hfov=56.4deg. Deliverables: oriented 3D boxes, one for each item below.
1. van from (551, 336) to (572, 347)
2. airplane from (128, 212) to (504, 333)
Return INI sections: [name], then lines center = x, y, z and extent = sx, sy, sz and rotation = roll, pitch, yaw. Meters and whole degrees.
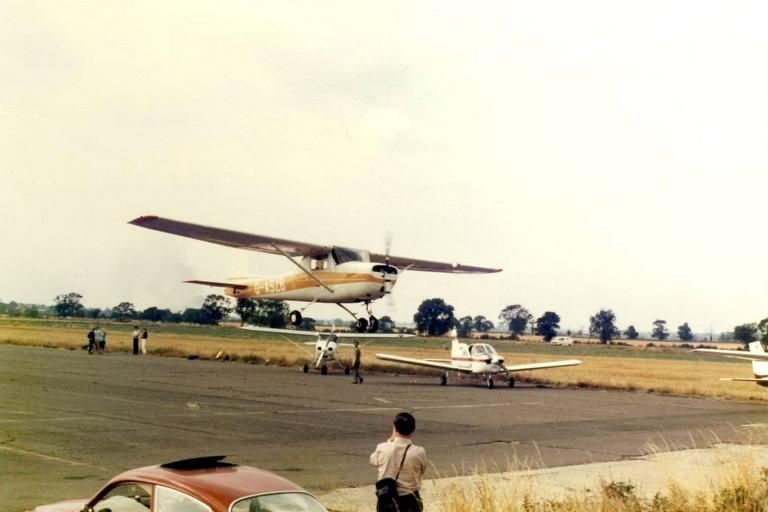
[van]
center = 28.988, 13.798, 117.086
extent = 4.690, 1.396, 1.969
rotation = 5, -6, -37
[airplane]
center = -3.472, 1.211, 31.233
extent = 11.703, 3.718, 10.816
rotation = 3, -9, -1
